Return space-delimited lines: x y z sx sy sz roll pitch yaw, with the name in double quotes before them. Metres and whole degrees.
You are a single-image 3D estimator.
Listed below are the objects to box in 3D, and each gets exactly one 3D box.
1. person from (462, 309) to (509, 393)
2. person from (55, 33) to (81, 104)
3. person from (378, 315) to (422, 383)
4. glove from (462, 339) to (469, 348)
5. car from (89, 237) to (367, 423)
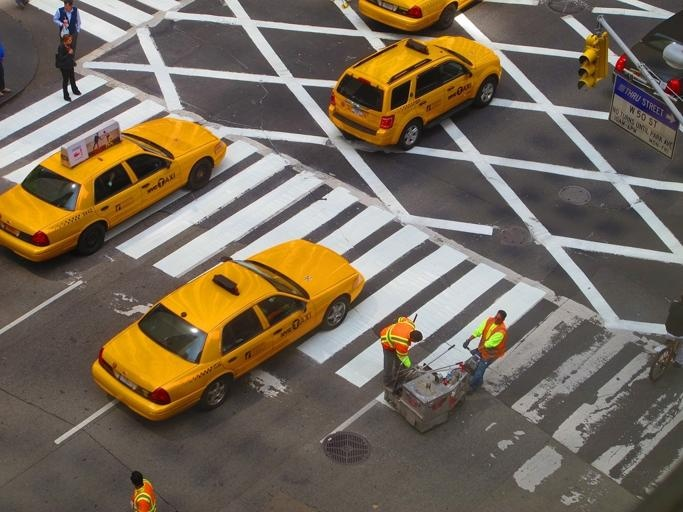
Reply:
"person" 2.872 1.889 16.800 0.732 1.699 0.654 16 24 -4
"person" -7.850 -5.588 24.022 0.678 2.105 1.185 3 48 -17
"person" 1.184 1.941 16.726 0.587 1.214 0.548 20 65 9
"glove" 2.610 1.849 17.460 0.102 0.236 0.142 -38 76 -6
"car" -2.192 1.682 17.845 2.646 1.904 5.916 40 57 22
